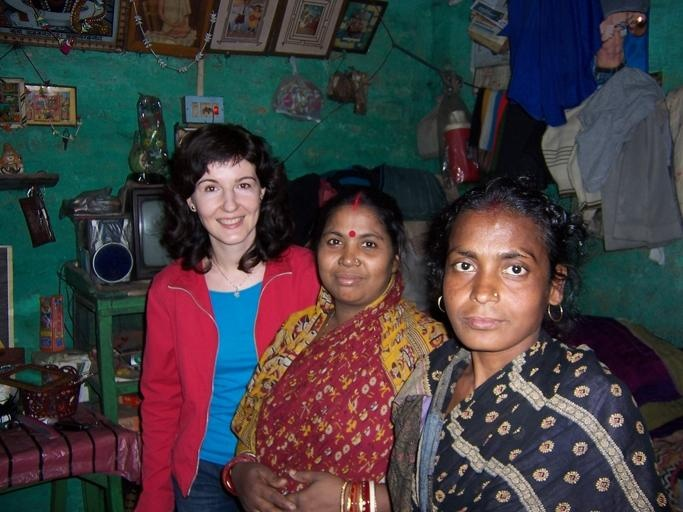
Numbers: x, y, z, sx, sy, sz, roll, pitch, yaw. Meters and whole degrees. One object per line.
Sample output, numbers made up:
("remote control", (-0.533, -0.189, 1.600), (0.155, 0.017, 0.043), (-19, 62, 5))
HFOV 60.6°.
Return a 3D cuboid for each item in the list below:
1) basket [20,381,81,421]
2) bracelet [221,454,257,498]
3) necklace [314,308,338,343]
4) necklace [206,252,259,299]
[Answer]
("basket", (-1.391, 0.682, 2.773), (0.185, 0.138, 0.219), (1, -11, -2))
("bracelet", (-0.385, 0.794, 2.168), (0.123, 0.152, 0.074), (-3, 10, -12))
("necklace", (-0.049, 0.260, 2.204), (0.046, 0.154, 0.014), (23, -24, 30))
("necklace", (-0.456, 0.082, 2.410), (0.159, 0.205, 0.069), (-2, 7, 1))
